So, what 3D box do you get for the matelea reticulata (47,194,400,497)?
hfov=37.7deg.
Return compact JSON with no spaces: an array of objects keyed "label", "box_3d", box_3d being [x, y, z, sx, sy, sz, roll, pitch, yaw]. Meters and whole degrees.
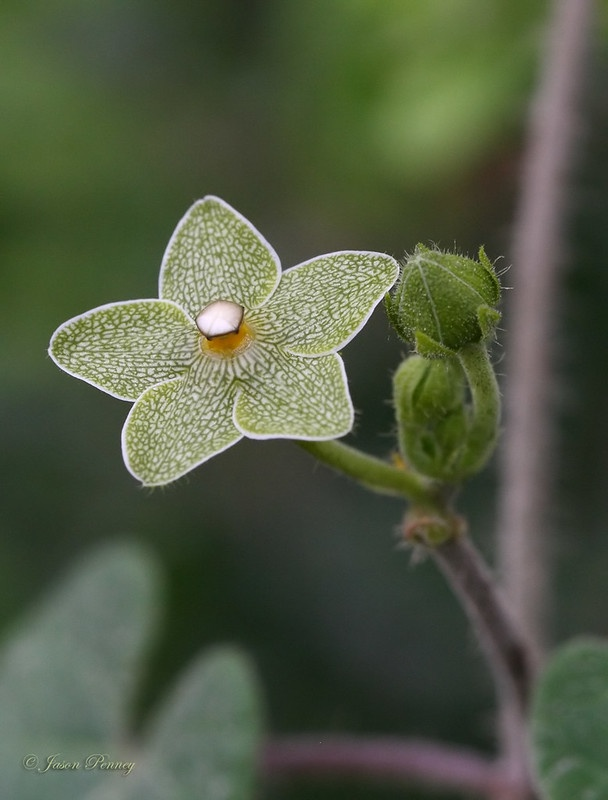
[{"label":"matelea reticulata","box_3d":[-0.069,-0.045,0.819,0.287,0.159,0.255,24,47,25]}]
